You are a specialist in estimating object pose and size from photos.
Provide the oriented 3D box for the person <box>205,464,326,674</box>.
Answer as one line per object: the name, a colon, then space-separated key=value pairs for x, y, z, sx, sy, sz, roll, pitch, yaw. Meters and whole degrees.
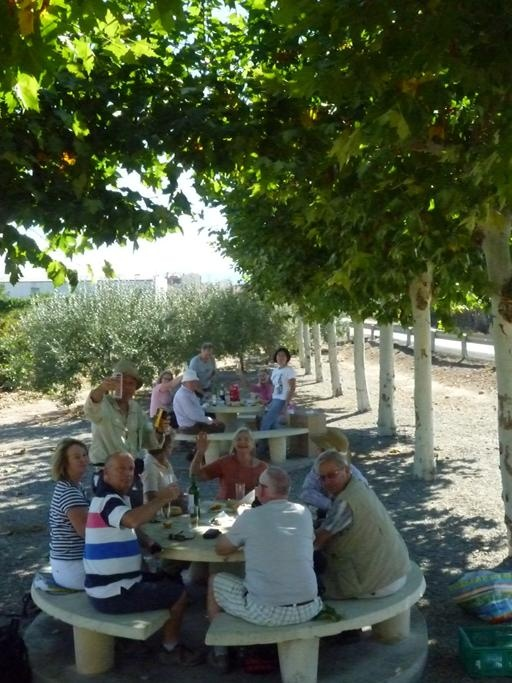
person: x=0.115 y=1.445 z=4.247 sx=0.851 sy=1.041 sz=0.842 roll=0 pitch=-12 yaw=-4

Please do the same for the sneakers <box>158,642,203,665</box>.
sneakers: x=-0.522 y=2.123 z=4.317 sx=0.270 sy=0.103 sz=0.124 roll=-1 pitch=0 yaw=1

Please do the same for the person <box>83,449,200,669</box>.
person: x=-0.820 y=1.462 z=4.284 sx=0.521 sy=1.416 sz=0.575 roll=-3 pitch=-2 yaw=43

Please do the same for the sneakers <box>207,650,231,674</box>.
sneakers: x=-0.236 y=2.103 z=4.188 sx=0.091 sy=0.084 sz=0.222 roll=0 pitch=-1 yaw=-6

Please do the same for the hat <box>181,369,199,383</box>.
hat: x=-1.095 y=0.574 z=10.542 sx=0.249 sy=0.121 sz=0.253 roll=-2 pitch=-4 yaw=7

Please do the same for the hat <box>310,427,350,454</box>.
hat: x=0.670 y=0.924 z=5.663 sx=0.330 sy=0.134 sz=0.373 roll=12 pitch=20 yaw=10

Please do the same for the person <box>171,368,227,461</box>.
person: x=-1.003 y=1.191 z=11.150 sx=0.983 sy=1.381 sz=0.735 roll=-6 pitch=11 yaw=-21

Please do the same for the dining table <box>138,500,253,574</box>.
dining table: x=-0.501 y=1.602 z=4.780 sx=0.792 sy=0.228 sz=0.701 roll=0 pitch=20 yaw=4
